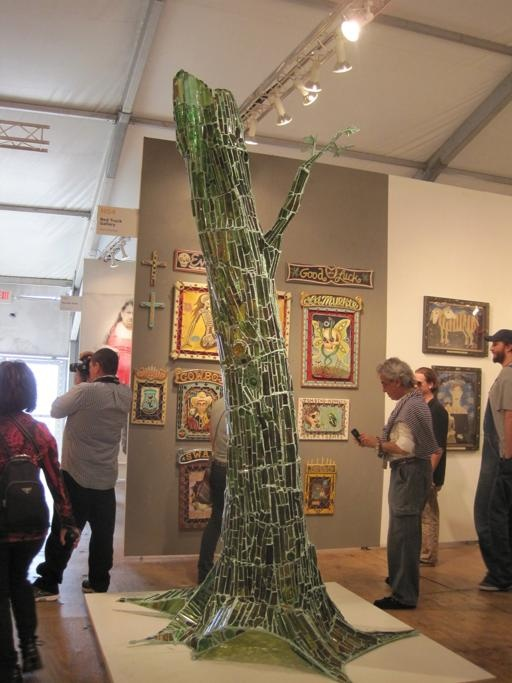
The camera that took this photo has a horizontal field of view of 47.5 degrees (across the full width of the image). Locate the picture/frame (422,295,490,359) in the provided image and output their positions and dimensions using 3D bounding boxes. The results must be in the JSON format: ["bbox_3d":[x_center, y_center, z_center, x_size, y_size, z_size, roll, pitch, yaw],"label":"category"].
[{"bbox_3d":[1.828,-0.119,5.426,0.673,0.492,0.030,2,-1,-15],"label":"picture/frame"}]

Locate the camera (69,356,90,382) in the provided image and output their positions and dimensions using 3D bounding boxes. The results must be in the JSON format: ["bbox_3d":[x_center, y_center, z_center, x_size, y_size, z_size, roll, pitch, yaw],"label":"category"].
[{"bbox_3d":[-1.178,0.177,3.921,0.200,0.166,0.077,5,13,31],"label":"camera"}]

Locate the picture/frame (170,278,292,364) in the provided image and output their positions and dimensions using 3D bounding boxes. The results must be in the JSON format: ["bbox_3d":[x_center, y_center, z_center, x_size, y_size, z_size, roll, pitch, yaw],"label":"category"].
[{"bbox_3d":[-0.218,-0.107,3.443,0.790,0.488,0.036,0,-3,-9],"label":"picture/frame"}]

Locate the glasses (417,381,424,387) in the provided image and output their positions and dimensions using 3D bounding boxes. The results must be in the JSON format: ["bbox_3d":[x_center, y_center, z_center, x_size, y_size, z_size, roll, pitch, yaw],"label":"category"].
[{"bbox_3d":[1.255,0.329,4.475,0.045,0.044,0.052,13,22,36],"label":"glasses"}]

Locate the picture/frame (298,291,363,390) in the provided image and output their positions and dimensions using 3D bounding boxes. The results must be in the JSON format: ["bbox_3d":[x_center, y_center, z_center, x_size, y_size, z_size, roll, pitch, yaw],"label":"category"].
[{"bbox_3d":[0.626,0.008,5.010,0.601,0.801,0.126,7,-13,-19],"label":"picture/frame"}]

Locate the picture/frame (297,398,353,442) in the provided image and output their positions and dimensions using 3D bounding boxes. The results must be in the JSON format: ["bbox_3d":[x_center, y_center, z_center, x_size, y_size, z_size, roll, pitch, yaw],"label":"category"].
[{"bbox_3d":[0.572,0.665,4.957,0.475,0.344,0.020,-4,-11,32],"label":"picture/frame"}]

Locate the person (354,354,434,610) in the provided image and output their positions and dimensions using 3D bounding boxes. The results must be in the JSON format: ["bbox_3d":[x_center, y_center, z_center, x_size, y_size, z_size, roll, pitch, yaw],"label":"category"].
[{"bbox_3d":[0.808,0.814,3.328,0.423,1.427,0.457,0,-13,14],"label":"person"}]

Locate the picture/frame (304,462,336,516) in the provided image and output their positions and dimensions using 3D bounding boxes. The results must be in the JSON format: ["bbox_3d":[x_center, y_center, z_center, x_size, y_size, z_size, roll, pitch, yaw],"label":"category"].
[{"bbox_3d":[0.530,1.244,4.880,0.316,0.441,0.078,7,-13,-21],"label":"picture/frame"}]
